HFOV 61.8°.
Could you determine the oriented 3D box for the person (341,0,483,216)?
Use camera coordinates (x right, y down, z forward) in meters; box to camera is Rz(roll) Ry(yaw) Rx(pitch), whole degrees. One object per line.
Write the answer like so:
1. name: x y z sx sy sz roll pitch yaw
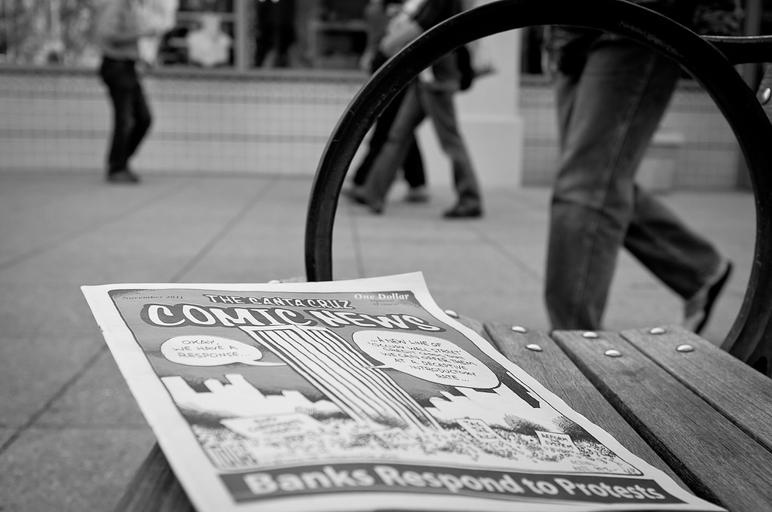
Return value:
1. person: 0.175 -0.895 3.805 0.769 1.300 0.639 0 10 -3
